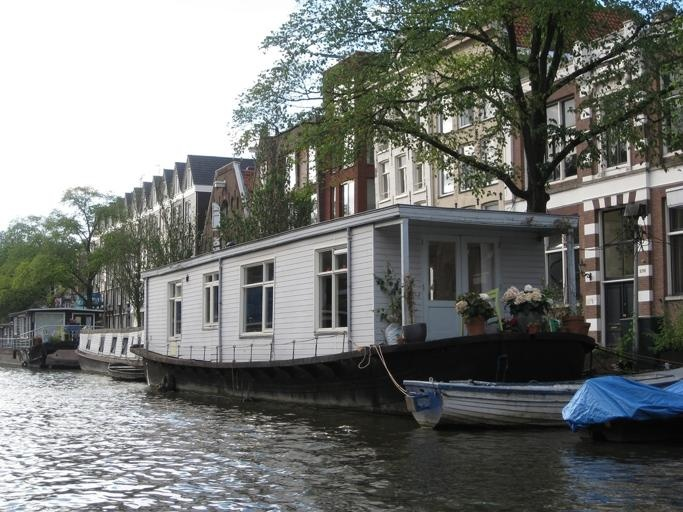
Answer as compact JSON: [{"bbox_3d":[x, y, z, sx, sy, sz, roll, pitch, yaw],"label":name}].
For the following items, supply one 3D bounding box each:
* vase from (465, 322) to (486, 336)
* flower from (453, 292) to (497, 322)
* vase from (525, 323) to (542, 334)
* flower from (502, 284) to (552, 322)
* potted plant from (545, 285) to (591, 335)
[{"bbox_3d":[2.604,1.401,16.564,0.369,0.328,0.555,2,-8,7],"label":"vase"},{"bbox_3d":[2.586,0.950,16.582,0.583,0.440,0.603,2,-2,-11],"label":"flower"},{"bbox_3d":[3.773,1.416,16.680,0.199,0.154,0.207,6,-5,1],"label":"vase"},{"bbox_3d":[3.718,0.940,17.040,0.744,0.533,0.763,2,-5,-14],"label":"flower"},{"bbox_3d":[4.859,1.127,18.514,0.903,1.316,3.337,1,-9,13],"label":"potted plant"}]
